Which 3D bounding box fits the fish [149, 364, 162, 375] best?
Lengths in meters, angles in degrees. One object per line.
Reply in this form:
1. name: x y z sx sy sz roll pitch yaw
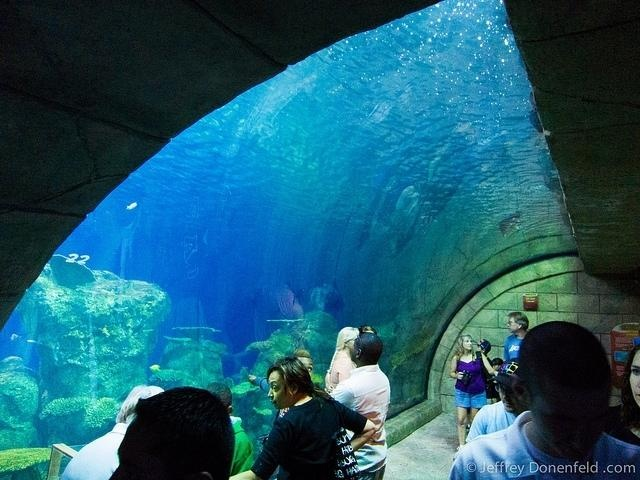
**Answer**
1. fish: -6.582 5.203 18.506 0.408 0.366 0.321 -26 -2 43
